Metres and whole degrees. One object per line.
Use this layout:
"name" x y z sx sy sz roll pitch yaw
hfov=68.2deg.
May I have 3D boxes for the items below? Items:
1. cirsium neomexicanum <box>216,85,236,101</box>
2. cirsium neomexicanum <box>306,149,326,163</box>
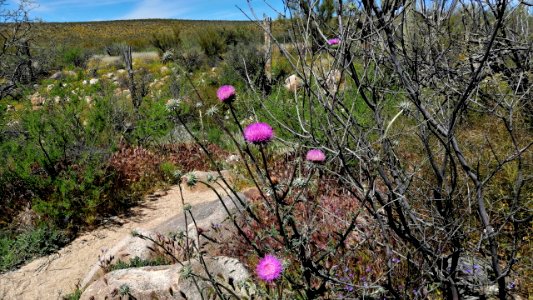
"cirsium neomexicanum" -0.694 -0.986 6.930 0.318 0.280 0.234 -14 23 -2
"cirsium neomexicanum" 0.874 0.105 6.820 0.243 0.167 0.224 1 2 -15
